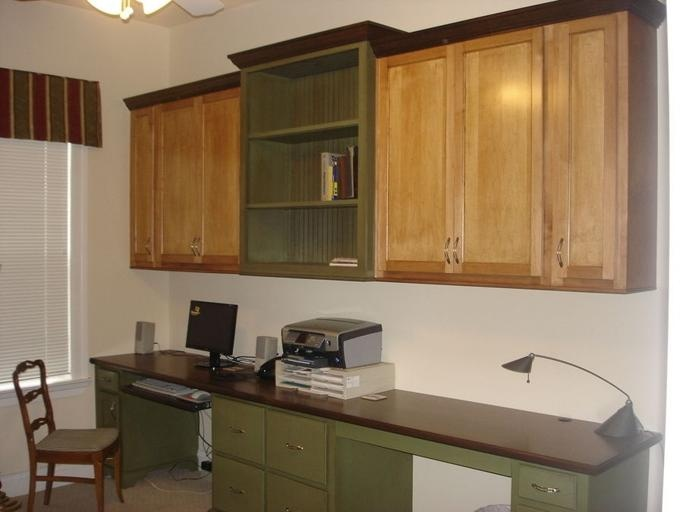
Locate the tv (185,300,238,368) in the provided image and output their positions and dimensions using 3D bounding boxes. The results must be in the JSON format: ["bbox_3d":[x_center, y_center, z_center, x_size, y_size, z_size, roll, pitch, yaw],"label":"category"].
[{"bbox_3d":[-0.979,0.587,4.561,0.455,0.444,0.163,1,-3,40],"label":"tv"}]

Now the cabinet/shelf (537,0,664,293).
[{"bbox_3d":[1.312,-0.527,2.883,0.587,1.372,0.246,0,0,-8],"label":"cabinet/shelf"}]

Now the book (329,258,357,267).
[{"bbox_3d":[0.024,0.037,3.679,0.084,0.050,0.256,0,1,-40],"label":"book"}]

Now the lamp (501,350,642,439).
[{"bbox_3d":[1.125,0.720,3.178,0.747,0.474,0.302,-3,-4,12],"label":"lamp"}]

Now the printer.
[{"bbox_3d":[0.009,0.482,3.795,0.389,0.204,0.347,-1,-4,42],"label":"printer"}]

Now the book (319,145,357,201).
[{"bbox_3d":[-0.005,-0.512,3.720,0.160,0.325,0.328,0,0,-18],"label":"book"}]
